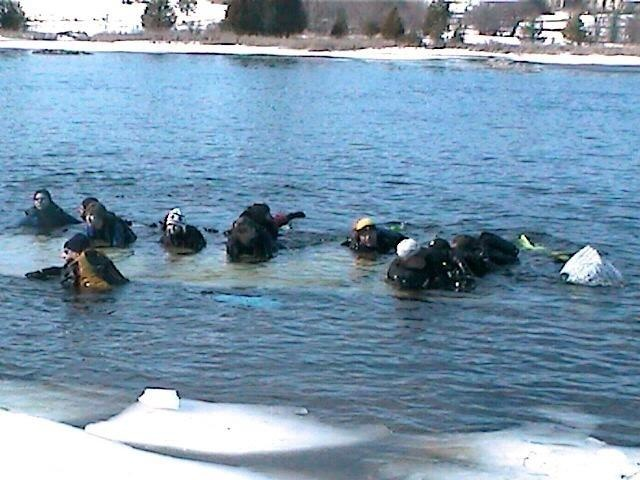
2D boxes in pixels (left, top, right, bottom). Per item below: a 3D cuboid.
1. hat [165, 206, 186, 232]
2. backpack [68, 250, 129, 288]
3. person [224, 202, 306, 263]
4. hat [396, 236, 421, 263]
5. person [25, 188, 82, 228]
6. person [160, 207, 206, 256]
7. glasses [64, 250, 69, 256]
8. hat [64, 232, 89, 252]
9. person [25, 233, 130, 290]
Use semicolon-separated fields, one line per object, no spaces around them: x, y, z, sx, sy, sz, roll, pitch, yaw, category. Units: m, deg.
-3.295;-0.450;22.168;0.420;0.525;0.404;16;45;-18;hat
-4.506;0.590;19.444;1.195;0.774;0.495;-3;14;-11;backpack
-1.355;-0.229;21.823;1.069;1.085;2.248;2;12;12;person
1.846;0.189;20.000;0.466;0.396;0.315;-1;13;-2;hat
-6.415;-0.702;22.802;1.662;0.760;0.630;0;4;11;person
-3.095;-0.169;21.541;0.998;0.863;0.885;3;13;14;person
-5.156;0.265;19.746;0.122;0.045;0.118;1;-13;-5;glasses
-4.879;0.063;19.670;0.470;0.236;0.366;17;38;3;hat
-4.906;0.460;19.703;1.934;0.737;1.053;8;14;12;person
